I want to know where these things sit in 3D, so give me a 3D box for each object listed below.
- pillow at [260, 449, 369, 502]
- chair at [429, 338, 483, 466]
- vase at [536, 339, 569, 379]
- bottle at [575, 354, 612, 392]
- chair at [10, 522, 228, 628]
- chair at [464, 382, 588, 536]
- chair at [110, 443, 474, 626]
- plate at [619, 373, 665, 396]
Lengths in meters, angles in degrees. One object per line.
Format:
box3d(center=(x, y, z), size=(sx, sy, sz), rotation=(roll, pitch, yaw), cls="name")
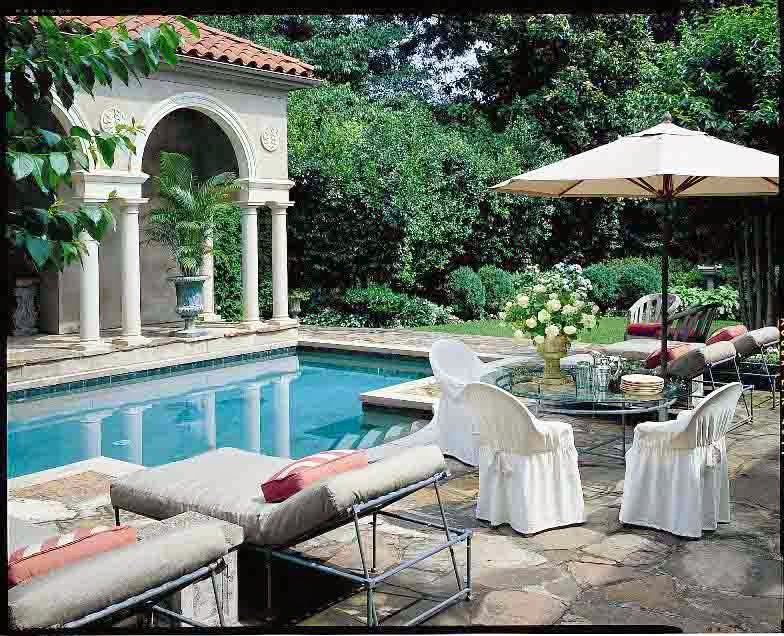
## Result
box3d(center=(-0.369, 0.836, 3.451), size=(0.583, 0.199, 0.380), rotation=(-6, 8, -38), cls="pillow")
box3d(center=(0.690, 0.751, 5.861), size=(0.724, 0.923, 0.781), rotation=(0, 3, 18), cls="chair")
box3d(center=(1.296, 0.302, 5.272), size=(0.304, 0.372, 0.288), rotation=(-4, 5, -9), cls="vase")
box3d(center=(1.540, 0.420, 5.089), size=(0.231, 0.293, 0.294), rotation=(0, -1, -35), cls="bottle")
box3d(center=(-0.958, 0.921, 2.334), size=(0.242, 0.191, 0.740), rotation=(3, 8, 39), cls="chair")
box3d(center=(0.951, 0.904, 4.412), size=(0.763, 0.944, 0.727), rotation=(-1, 4, 42), cls="chair")
box3d(center=(-0.580, 0.961, 3.572), size=(1.796, 0.718, 0.958), rotation=(8, 8, 35), cls="chair")
box3d(center=(1.845, 0.498, 4.858), size=(0.189, 0.068, 0.192), rotation=(6, 10, 41), cls="plate")
